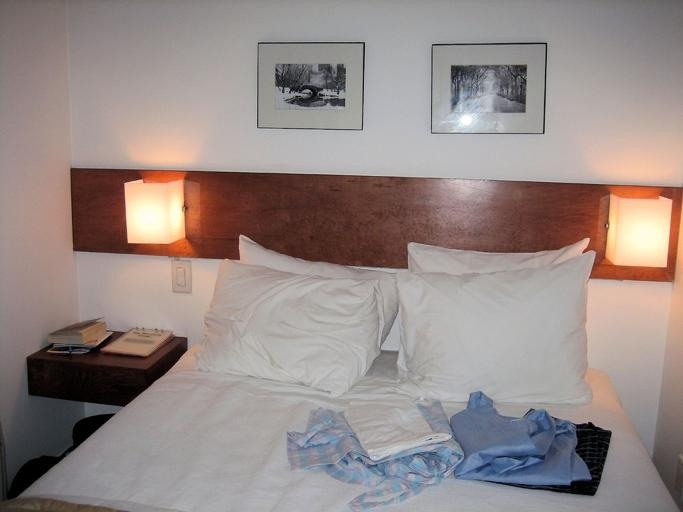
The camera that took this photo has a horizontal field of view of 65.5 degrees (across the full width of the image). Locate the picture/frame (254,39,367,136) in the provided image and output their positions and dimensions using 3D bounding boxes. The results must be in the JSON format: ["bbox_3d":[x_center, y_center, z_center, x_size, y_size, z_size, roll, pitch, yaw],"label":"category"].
[{"bbox_3d":[-0.150,-0.922,2.855,0.517,0.379,0.010,1,4,8],"label":"picture/frame"}]

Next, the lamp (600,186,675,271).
[{"bbox_3d":[1.464,-0.135,2.626,0.352,0.357,0.086,5,5,6],"label":"lamp"}]

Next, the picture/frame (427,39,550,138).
[{"bbox_3d":[0.767,-0.880,2.742,0.514,0.380,0.009,1,11,10],"label":"picture/frame"}]

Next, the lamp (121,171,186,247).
[{"bbox_3d":[-0.997,-0.236,3.044,0.385,0.325,0.303,-2,4,10],"label":"lamp"}]
